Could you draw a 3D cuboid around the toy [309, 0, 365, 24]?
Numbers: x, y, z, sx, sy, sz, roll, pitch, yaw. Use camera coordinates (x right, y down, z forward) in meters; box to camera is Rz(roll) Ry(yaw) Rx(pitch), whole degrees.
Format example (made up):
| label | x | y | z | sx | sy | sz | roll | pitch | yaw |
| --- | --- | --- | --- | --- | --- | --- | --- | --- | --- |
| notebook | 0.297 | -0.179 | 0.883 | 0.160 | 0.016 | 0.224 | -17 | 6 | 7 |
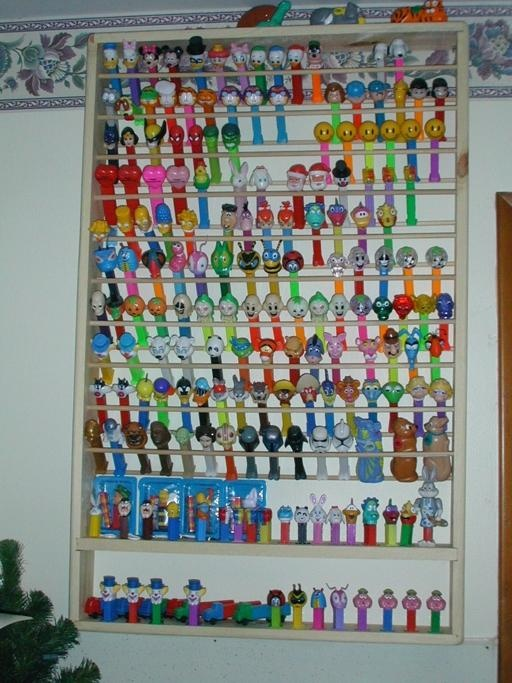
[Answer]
| label | x | y | z | sx | sy | sz | roll | pitch | yaw |
| --- | --- | --- | --- | --- | --- | --- | --- | --- | --- |
| toy | 0.295 | -1.214 | 3.091 | 0.182 | 0.091 | 0.065 | -2 | -9 | 5 |
